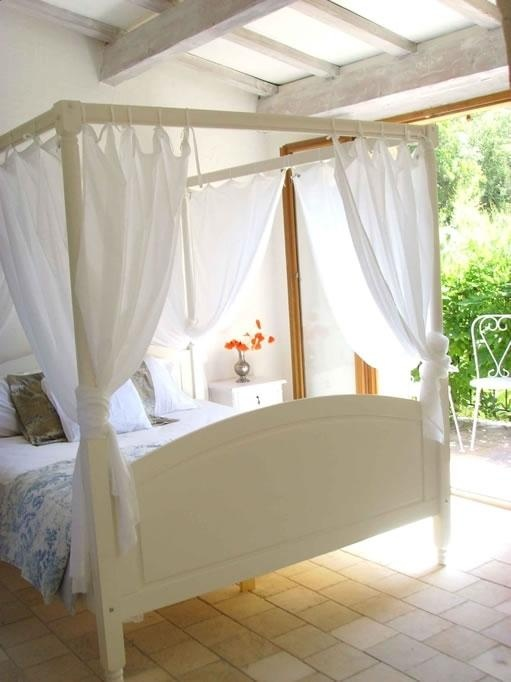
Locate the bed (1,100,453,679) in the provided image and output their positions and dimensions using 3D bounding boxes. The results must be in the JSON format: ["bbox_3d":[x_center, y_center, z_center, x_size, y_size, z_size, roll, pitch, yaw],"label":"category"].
[{"bbox_3d":[-0.181,0.094,2.296,1.474,1.885,1.705,-8,5,-30],"label":"bed"}]

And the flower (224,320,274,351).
[{"bbox_3d":[-0.062,-0.007,3.774,0.255,0.191,0.274,-2,1,-7],"label":"flower"}]
